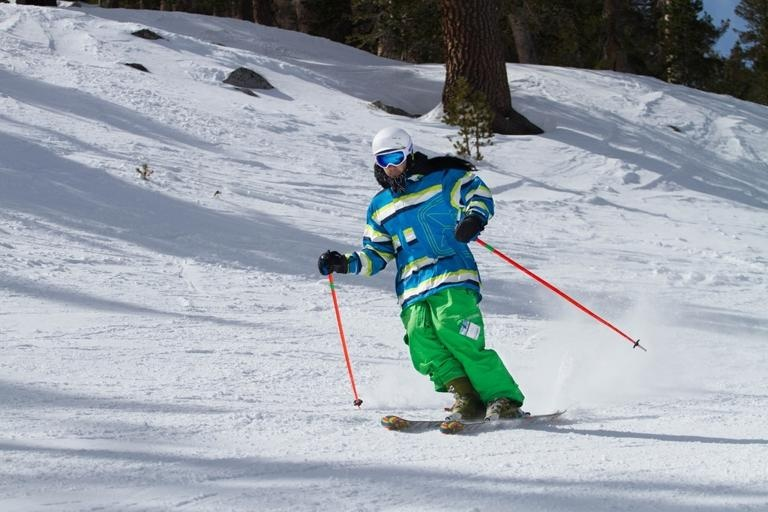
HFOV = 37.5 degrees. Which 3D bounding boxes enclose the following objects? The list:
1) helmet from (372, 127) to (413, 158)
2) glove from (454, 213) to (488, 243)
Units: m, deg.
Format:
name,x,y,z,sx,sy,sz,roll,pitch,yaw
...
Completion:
name,x,y,z,sx,sy,sz,roll,pitch,yaw
helmet,0.137,-1.652,16.518,0.570,0.410,0.322,6,37,-5
glove,1.281,-0.388,16.465,0.528,0.210,0.365,-34,80,-5
